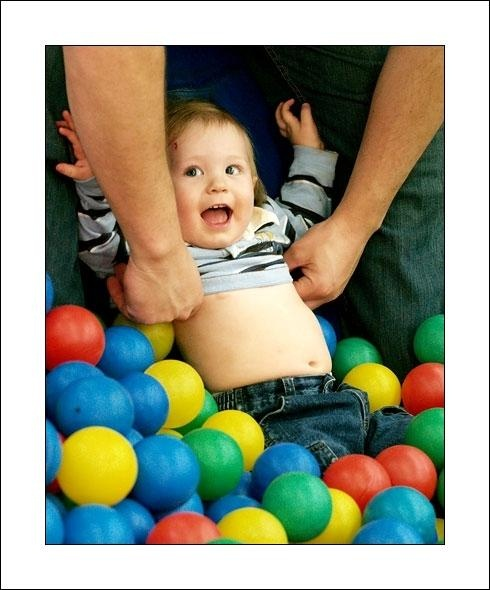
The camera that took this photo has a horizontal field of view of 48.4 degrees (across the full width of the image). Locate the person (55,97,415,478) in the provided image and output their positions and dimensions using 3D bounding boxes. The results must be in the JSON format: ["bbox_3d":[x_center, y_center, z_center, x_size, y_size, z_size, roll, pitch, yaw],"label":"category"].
[{"bbox_3d":[-0.055,0.062,1.705,0.822,0.484,1.041,-11,60,-49],"label":"person"}]
